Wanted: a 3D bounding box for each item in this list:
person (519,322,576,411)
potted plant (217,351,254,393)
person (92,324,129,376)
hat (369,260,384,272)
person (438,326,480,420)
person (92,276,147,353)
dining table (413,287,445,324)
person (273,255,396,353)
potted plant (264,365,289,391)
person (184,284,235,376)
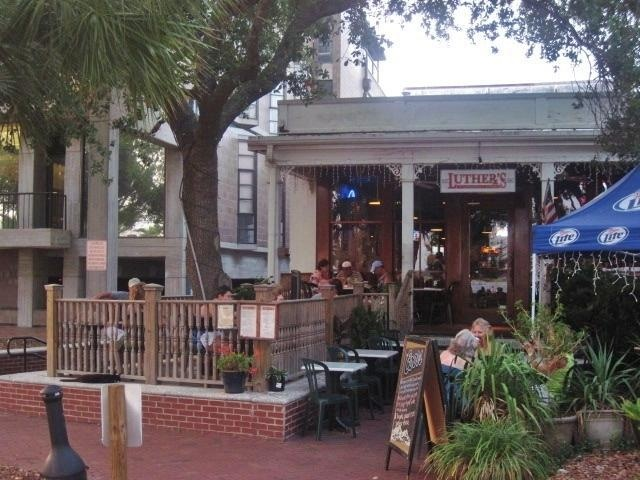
[{"bbox_3d":[3.554,1.627,12.706,0.628,1.047,0.742,7,13,17],"label":"person"},{"bbox_3d":[-1.296,2.049,12.760,0.501,0.631,0.560,1,-9,-3],"label":"potted plant"},{"bbox_3d":[-3.511,1.736,13.689,0.198,1.410,0.190,-15,41,-8],"label":"person"},{"bbox_3d":[1.371,0.643,20.444,0.329,0.204,0.216,-26,-8,34],"label":"hat"},{"bbox_3d":[2.012,1.941,11.894,0.561,1.266,1.683,-2,-5,11],"label":"person"},{"bbox_3d":[-3.583,1.359,14.640,0.910,1.193,0.493,3,11,21],"label":"person"},{"bbox_3d":[2.780,1.689,21.005,0.812,0.904,0.871,-2,-2,32],"label":"dining table"},{"bbox_3d":[0.714,1.240,16.366,1.294,1.129,2.419,1,3,22],"label":"person"},{"bbox_3d":[-0.684,2.168,12.888,0.291,0.342,0.314,-2,-3,29],"label":"potted plant"},{"bbox_3d":[-1.730,1.563,13.440,0.645,1.233,0.329,1,-7,27],"label":"person"}]
